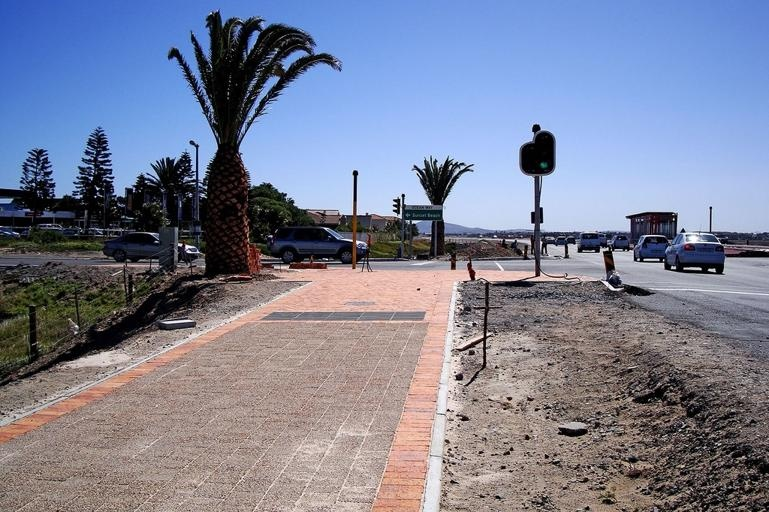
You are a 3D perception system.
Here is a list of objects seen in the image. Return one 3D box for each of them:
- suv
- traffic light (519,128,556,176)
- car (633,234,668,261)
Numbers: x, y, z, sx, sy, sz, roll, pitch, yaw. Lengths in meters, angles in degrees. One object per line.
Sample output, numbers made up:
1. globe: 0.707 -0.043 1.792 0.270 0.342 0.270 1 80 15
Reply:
1. suv: -3.859 -0.647 32.673 5.377 2.130 2.464 -1 1 -5
2. traffic light: 4.923 -3.270 17.883 1.022 1.393 0.405 -1 4 0
3. car: 17.601 -0.392 37.088 1.878 1.525 3.186 0 5 7
